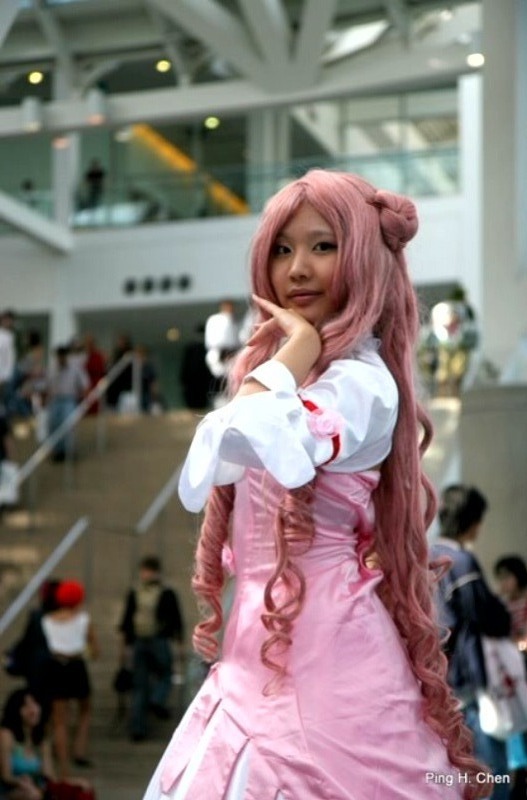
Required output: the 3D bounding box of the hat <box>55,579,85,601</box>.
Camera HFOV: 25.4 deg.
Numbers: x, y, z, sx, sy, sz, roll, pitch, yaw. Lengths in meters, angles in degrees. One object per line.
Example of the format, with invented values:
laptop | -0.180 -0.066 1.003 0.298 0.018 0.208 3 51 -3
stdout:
hat | -0.700 0.687 4.166 0.075 0.085 0.177 -3 2 -1
